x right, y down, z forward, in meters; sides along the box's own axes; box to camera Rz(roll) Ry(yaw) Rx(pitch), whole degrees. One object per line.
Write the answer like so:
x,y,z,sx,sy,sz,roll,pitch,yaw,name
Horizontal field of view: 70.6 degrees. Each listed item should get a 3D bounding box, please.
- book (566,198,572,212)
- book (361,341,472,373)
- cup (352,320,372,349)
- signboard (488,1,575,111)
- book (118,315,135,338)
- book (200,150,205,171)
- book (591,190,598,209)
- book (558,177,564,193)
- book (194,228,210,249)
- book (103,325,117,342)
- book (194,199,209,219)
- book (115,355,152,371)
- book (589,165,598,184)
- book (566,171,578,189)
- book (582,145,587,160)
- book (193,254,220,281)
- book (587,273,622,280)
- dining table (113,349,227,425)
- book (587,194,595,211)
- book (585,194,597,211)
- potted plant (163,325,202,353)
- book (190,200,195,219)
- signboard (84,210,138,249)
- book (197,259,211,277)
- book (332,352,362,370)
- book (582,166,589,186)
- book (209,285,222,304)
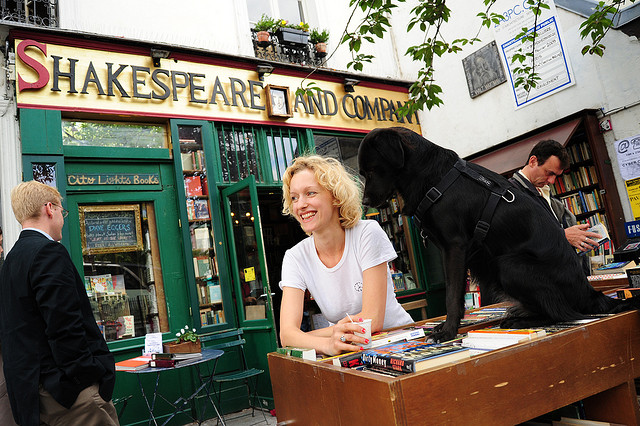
4.139,-0.150,7.513,0.034,0.183,0.152,-14,-9,28,book
0.446,0.674,2.142,0.237,0.032,0.233,-2,-3,-34,book
0.267,0.682,2.542,0.127,0.136,0.121,-5,0,0,cup
3.717,-3.009,8.027,0.304,1.688,1.124,-6,-8,-27,signboard
-2.621,1.544,6.092,0.284,0.373,0.049,4,-23,-30,book
-1.802,-0.808,6.942,0.053,0.222,0.214,-4,4,-13,book
4.445,-0.204,7.292,0.062,0.256,0.256,-11,9,14,book
4.145,-0.470,7.751,0.039,0.217,0.112,-14,-8,27,book
-1.747,0.386,6.715,0.263,0.384,0.263,-2,-7,-8,book
-2.774,1.586,5.971,0.162,0.223,0.077,-5,-9,-30,book
-1.787,-0.046,6.791,0.282,0.364,0.051,2,-17,-39,book
-2.038,1.658,4.963,0.360,0.113,0.563,-6,-8,-24,book
4.430,-0.613,7.317,0.051,0.193,0.193,-11,-5,0,book
4.242,-0.542,7.583,0.047,0.262,0.141,-7,-8,-18,book
4.353,-0.984,7.421,0.035,0.209,0.041,-17,-10,43,book
-1.685,0.796,6.784,0.451,0.380,0.348,-9,-5,-1,book
2.513,0.559,3.968,0.224,0.054,0.240,-1,-2,-10,book
-1.927,2.188,5.625,1.278,1.009,1.346,4,-18,-33,dining table
4.410,-0.166,7.342,0.042,0.181,0.184,-12,-11,19,book
4.413,-0.163,7.331,0.110,0.185,0.203,-14,-27,0,book
-1.648,1.529,5.375,0.381,0.328,0.229,-1,-7,-41,potted plant
-1.891,-0.047,6.722,0.054,0.204,0.204,0,1,-10,book
-2.919,0.246,6.235,0.550,0.454,0.044,0,-14,-38,signboard
-1.707,0.806,6.627,0.181,0.240,0.017,-3,-10,-40,book
0.144,0.754,2.292,0.157,0.032,0.131,-10,-8,-1,book
4.369,-0.606,7.419,0.030,0.267,0.050,-6,-8,-26,book
-1.545,1.205,6.635,0.089,0.243,0.259,-16,-12,30,book
